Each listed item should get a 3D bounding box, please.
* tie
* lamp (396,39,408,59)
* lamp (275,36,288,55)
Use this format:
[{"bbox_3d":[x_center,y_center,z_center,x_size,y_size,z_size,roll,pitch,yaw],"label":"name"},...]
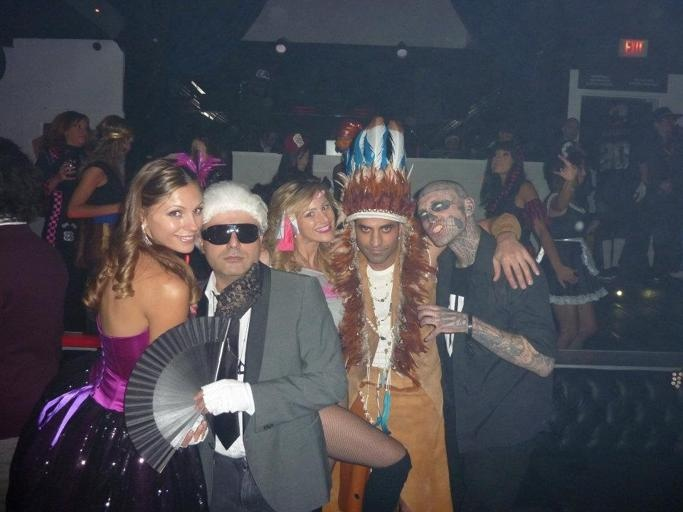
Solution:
[{"bbox_3d":[-0.790,0.839,4.237,0.241,1.040,0.183,6,-16,-2],"label":"tie"},{"bbox_3d":[0.894,-3.054,8.964,0.170,0.193,0.122,3,1,6],"label":"lamp"},{"bbox_3d":[-0.905,-3.123,8.984,0.198,0.173,0.140,2,1,-5],"label":"lamp"}]
